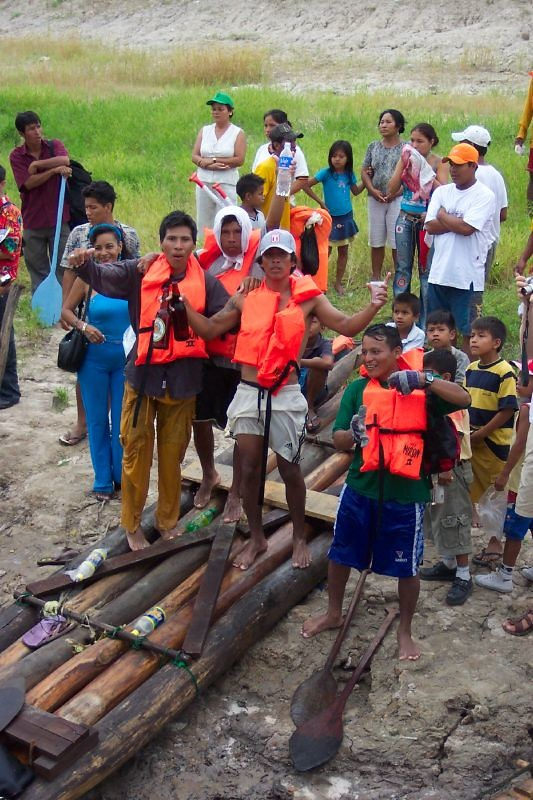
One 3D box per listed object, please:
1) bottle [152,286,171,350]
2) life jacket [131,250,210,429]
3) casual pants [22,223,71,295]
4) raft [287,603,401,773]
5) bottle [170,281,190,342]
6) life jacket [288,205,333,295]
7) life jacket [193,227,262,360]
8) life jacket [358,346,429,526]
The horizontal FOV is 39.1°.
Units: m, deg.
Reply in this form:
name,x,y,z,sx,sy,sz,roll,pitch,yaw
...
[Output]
name,x,y,z,sx,sy,sz,roll,pitch,yaw
bottle,-0.558,-0.404,3.968,0.098,0.267,0.049,3,15,1
life jacket,-0.587,-0.169,4.079,0.200,0.813,0.287,15,4,-40
casual pants,-2.614,-1.697,8.664,0.321,1.272,0.169,2,55,-11
raft,0.432,1.384,3.704,0.209,0.057,1.240,6,22,29
bottle,-0.450,-0.429,3.935,0.113,0.263,0.141,-1,15,-13
life jacket,0.373,-1.342,6.623,0.433,0.688,0.678,3,24,5
life jacket,-0.221,-0.615,4.531,0.464,0.723,0.245,2,-7,15
life jacket,0.579,0.237,3.552,0.311,0.621,0.267,7,16,16
